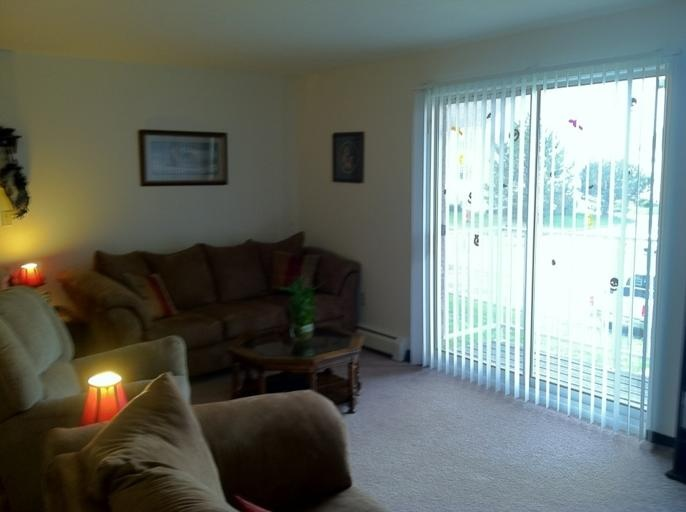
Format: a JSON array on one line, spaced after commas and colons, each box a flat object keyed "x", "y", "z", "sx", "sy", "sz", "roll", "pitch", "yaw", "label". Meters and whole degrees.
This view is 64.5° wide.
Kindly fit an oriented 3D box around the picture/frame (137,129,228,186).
[{"x": -1.634, "y": -1.008, "z": 5.641, "sx": 0.898, "sy": 0.580, "sz": 0.035, "roll": -4, "pitch": 25, "yaw": -23, "label": "picture/frame"}]

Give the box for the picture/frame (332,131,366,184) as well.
[{"x": 0.079, "y": -1.048, "z": 5.725, "sx": 0.026, "sy": 0.598, "sz": 0.491, "roll": -9, "pitch": 14, "yaw": -40, "label": "picture/frame"}]
